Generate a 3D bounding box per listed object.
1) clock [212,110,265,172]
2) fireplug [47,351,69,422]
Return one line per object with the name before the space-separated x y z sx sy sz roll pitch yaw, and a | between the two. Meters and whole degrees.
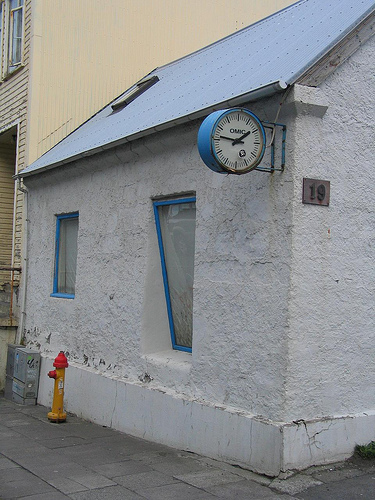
clock | 0.409 -0.897 5.853 0.425 0.536 0.133 0 0 -40
fireplug | -1.587 1.692 8.755 0.241 0.873 0.538 -1 -2 -12
